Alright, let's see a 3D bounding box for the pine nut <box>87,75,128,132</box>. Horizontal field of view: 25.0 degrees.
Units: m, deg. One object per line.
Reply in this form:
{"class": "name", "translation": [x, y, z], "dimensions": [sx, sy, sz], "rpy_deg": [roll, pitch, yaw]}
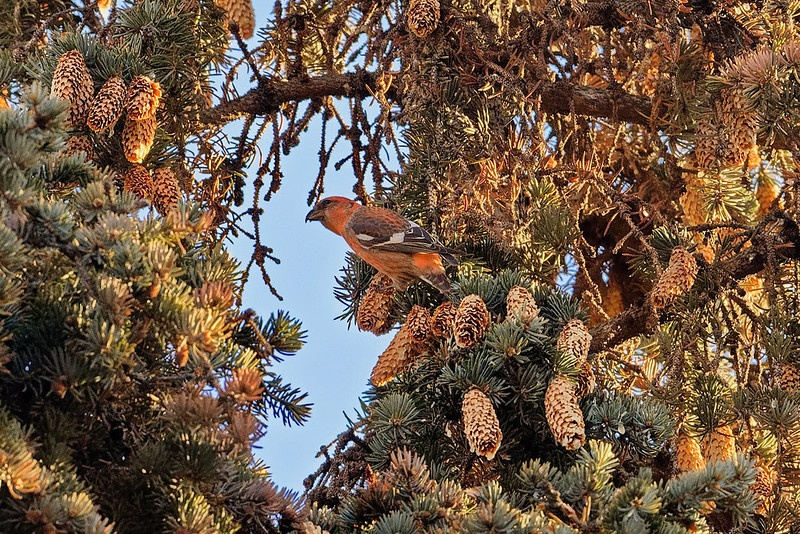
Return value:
{"class": "pine nut", "translation": [-1.623, -0.911, 10.055], "dimensions": [0.151, 0.343, 0.167], "rpy_deg": [16, -34, 0]}

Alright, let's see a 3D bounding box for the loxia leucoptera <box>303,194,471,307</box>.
{"class": "loxia leucoptera", "translation": [-0.058, -0.136, 11.304], "dimensions": [0.450, 1.350, 0.558], "rpy_deg": [4, -79, -46]}

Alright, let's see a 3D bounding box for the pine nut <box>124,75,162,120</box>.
{"class": "pine nut", "translation": [-1.444, -0.947, 10.126], "dimensions": [0.155, 0.271, 0.155], "rpy_deg": [17, -24, -32]}
